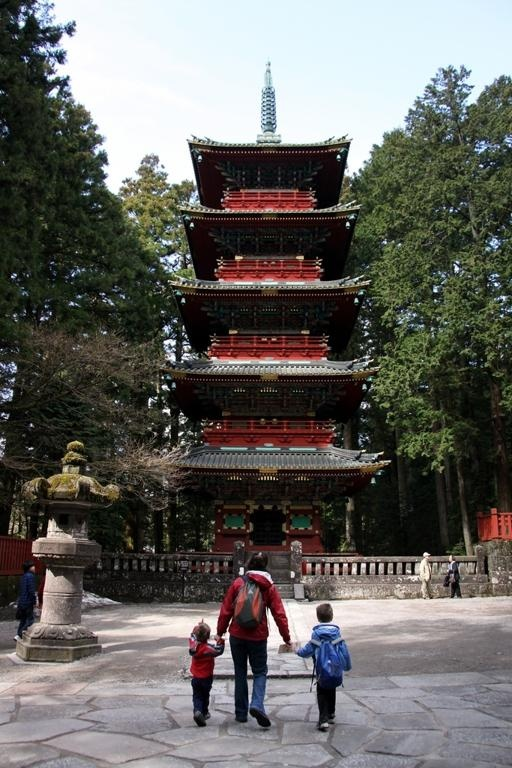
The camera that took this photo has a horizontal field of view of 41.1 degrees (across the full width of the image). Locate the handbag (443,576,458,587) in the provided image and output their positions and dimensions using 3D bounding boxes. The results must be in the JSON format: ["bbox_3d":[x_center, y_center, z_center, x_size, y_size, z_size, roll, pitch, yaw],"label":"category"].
[{"bbox_3d":[4.878,4.954,17.006,0.307,0.286,0.151,-26,-60,31],"label":"handbag"}]

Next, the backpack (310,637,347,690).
[{"bbox_3d":[0.615,2.305,5.592,0.292,0.392,0.233,-1,-15,6],"label":"backpack"}]

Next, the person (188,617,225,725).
[{"bbox_3d":[-0.420,2.461,5.865,0.264,0.816,0.571,1,-15,-3],"label":"person"}]

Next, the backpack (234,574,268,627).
[{"bbox_3d":[-0.056,1.818,5.676,0.351,0.531,0.303,-1,-46,1],"label":"backpack"}]

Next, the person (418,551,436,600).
[{"bbox_3d":[4.220,4.791,16.929,0.313,1.076,1.460,-3,-15,13],"label":"person"}]

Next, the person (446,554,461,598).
[{"bbox_3d":[4.969,4.875,17.133,0.336,0.996,0.863,-4,-15,14],"label":"person"}]
